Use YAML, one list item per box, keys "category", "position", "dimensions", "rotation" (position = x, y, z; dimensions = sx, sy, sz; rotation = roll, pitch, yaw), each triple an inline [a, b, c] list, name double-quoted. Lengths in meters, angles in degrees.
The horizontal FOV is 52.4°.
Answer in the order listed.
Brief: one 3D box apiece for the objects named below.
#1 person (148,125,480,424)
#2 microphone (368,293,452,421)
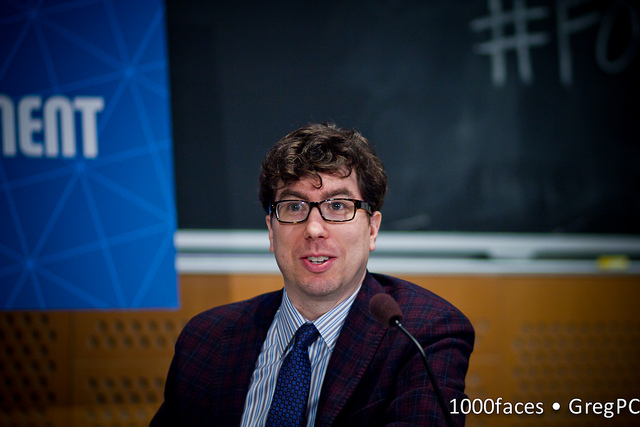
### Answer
- category: "person"
  position: [-0.019, 0.252, 2.615]
  dimensions: [1.210, 1.185, 0.325]
  rotation: [-2, -8, 15]
- category: "microphone"
  position: [0.318, 0.500, 2.315]
  dimensions: [0.286, 0.437, 0.149]
  rotation: [-1, -8, 11]
